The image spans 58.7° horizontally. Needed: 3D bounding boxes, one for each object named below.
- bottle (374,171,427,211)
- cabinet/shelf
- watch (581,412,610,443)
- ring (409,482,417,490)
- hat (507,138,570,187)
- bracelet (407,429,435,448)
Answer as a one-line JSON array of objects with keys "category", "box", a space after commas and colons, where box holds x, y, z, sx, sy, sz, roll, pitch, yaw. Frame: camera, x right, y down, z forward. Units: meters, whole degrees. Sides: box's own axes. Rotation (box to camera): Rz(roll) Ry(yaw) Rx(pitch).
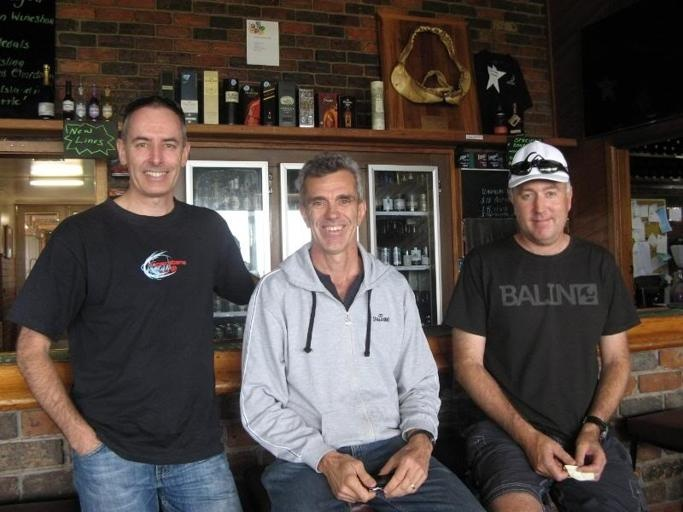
[{"category": "bottle", "box": [0.436, -0.489, 4.812, 0.581, 0.349, 0.293, -1, 2, -11]}, {"category": "cabinet/shelf", "box": [-0.179, -0.194, 3.338, 1.811, 1.489, 0.643, 0, -3, -10]}, {"category": "watch", "box": [1.004, 0.663, 2.387, 0.102, 0.041, 0.103, 31, -11, 24]}, {"category": "ring", "box": [0.255, 0.810, 2.130, 0.025, 0.022, 0.008, -1, 10, -17]}, {"category": "hat", "box": [0.853, -0.422, 2.637, 0.240, 0.163, 0.312, 1, 21, 29]}, {"category": "bracelet", "box": [0.295, 0.674, 2.263, 0.110, 0.060, 0.071, -2, 3, 4]}]
